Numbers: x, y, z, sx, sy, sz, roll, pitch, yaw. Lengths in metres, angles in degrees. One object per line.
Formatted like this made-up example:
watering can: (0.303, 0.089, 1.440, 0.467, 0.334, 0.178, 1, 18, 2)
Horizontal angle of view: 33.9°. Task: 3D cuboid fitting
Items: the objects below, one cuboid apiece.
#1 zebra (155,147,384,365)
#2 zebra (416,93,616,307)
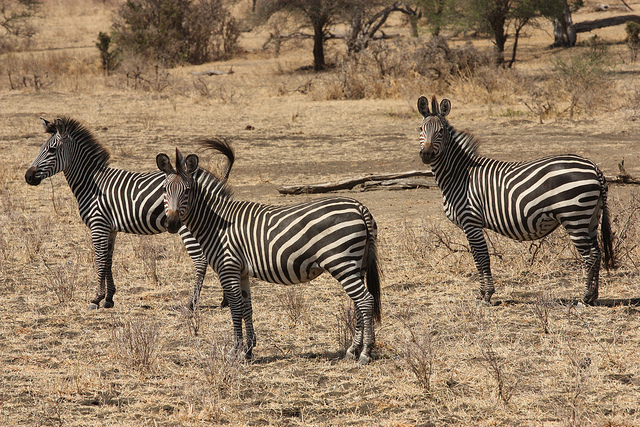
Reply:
zebra: (-1.110, 0.965, 23.725, 5.162, 4.583, 1.596, 3, 2, 6)
zebra: (4.531, -0.412, 24.757, 5.423, 4.695, 1.662, 2, 6, 32)
